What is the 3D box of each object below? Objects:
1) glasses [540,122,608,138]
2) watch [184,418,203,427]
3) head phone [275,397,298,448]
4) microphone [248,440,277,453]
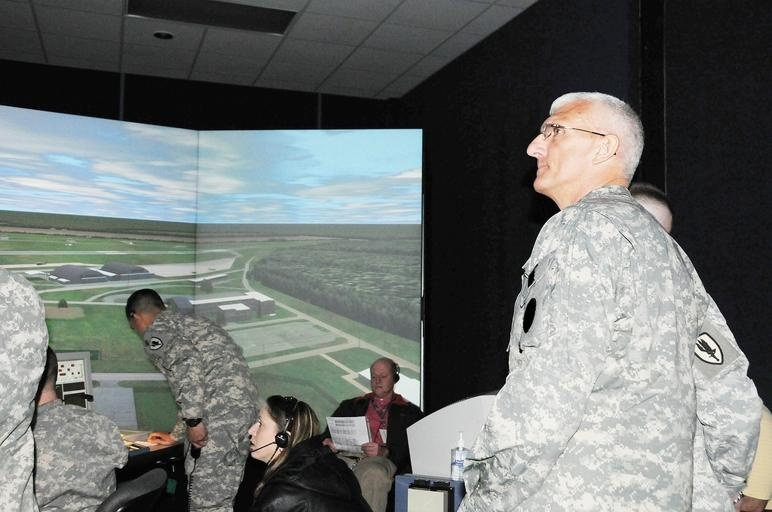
[{"bbox_3d":[0.583,-0.404,1.675,0.117,0.024,0.098,6,6,0],"label":"glasses"},{"bbox_3d":[-1.390,1.184,3.745,0.081,0.041,0.095,0,-4,4],"label":"watch"},{"bbox_3d":[-0.514,0.849,2.684,0.095,0.187,0.170,6,-1,-13],"label":"head phone"},{"bbox_3d":[-0.641,0.983,2.709,0.135,0.031,0.091,-8,0,-14],"label":"microphone"}]
